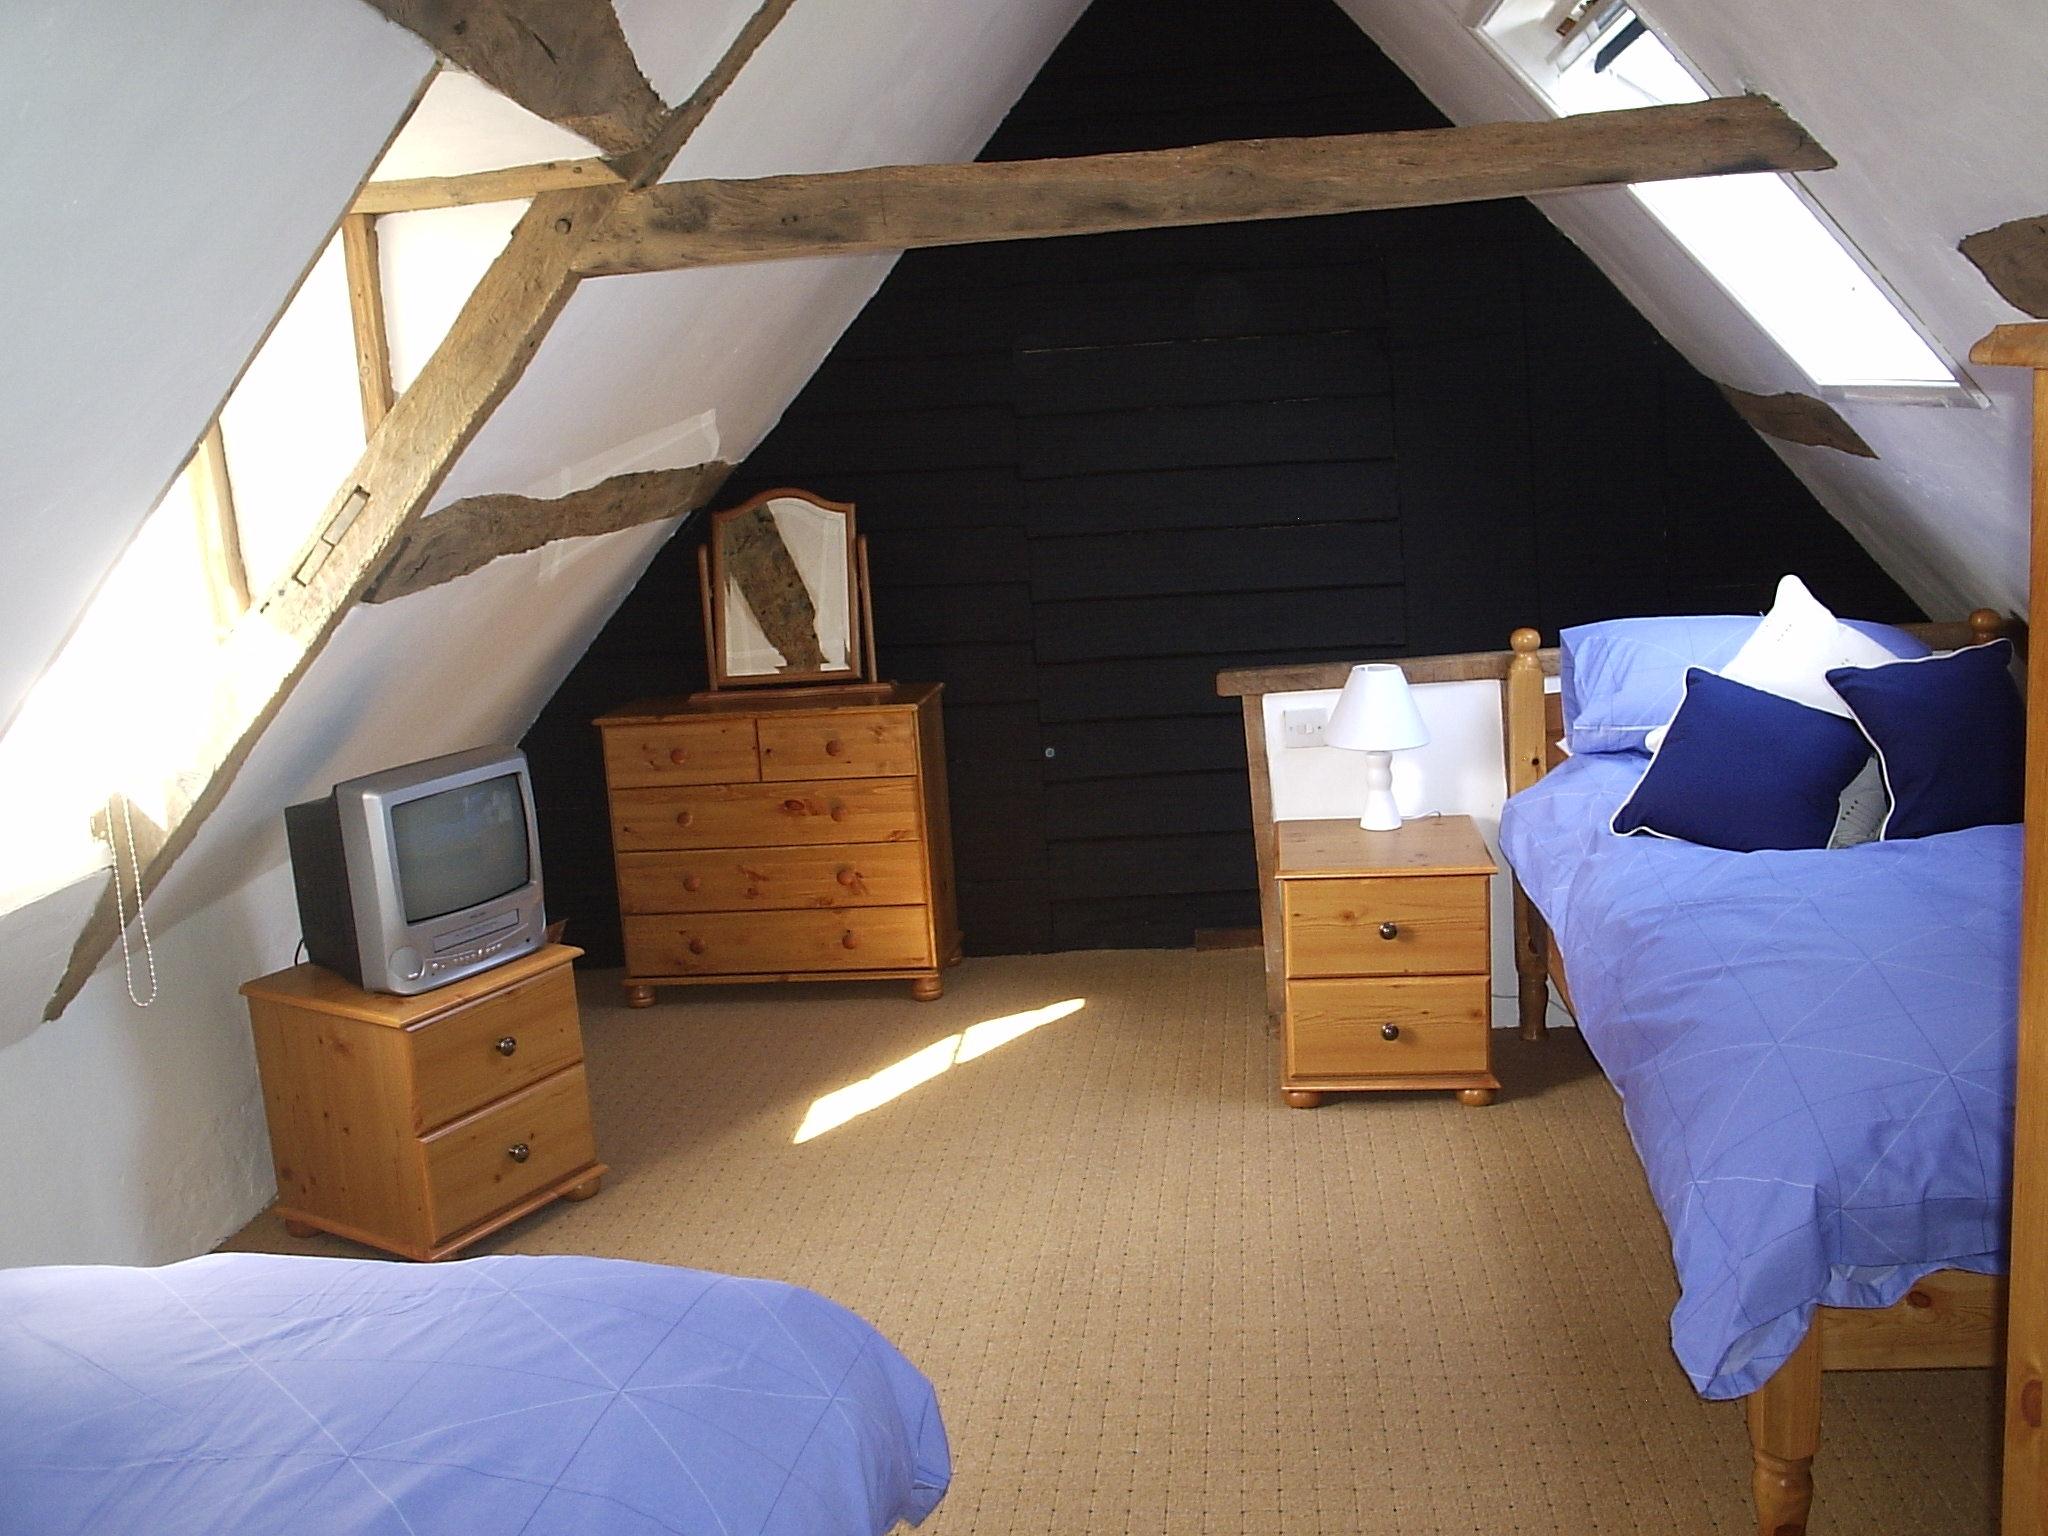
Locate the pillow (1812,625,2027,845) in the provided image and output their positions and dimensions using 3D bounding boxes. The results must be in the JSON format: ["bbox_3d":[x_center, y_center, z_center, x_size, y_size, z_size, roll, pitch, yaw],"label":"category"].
[{"bbox_3d":[2.046,-0.044,3.740,0.415,0.419,0.118,-9,-14,-3],"label":"pillow"}]

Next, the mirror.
[{"bbox_3d":[-0.762,-0.581,5.236,0.686,0.863,0.057,-1,4,-3],"label":"mirror"}]

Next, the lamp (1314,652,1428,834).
[{"bbox_3d":[0.957,-0.062,4.513,0.294,0.487,0.296,-18,24,-31],"label":"lamp"}]

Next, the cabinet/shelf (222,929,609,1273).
[{"bbox_3d":[-1.458,0.692,4.122,0.725,0.745,0.713,5,13,25],"label":"cabinet/shelf"}]

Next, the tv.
[{"bbox_3d":[-1.394,0.208,3.992,0.523,0.603,0.574,1,10,32],"label":"tv"}]

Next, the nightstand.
[{"bbox_3d":[0.850,0.488,4.467,0.663,0.845,0.638,-1,8,4],"label":"nightstand"}]
